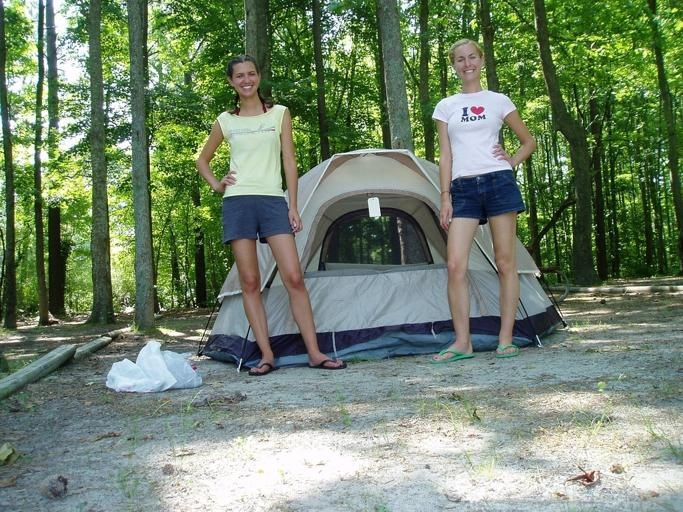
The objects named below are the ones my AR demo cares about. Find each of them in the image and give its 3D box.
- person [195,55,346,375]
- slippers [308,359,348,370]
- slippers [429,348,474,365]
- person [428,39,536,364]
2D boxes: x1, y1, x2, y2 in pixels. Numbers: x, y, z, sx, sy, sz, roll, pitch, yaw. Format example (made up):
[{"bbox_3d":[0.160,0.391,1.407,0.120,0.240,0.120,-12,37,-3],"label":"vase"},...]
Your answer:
[{"bbox_3d":[-0.704,-0.359,5.179,0.976,2.818,0.469,-5,4,-13],"label":"person"},{"bbox_3d":[-0.132,0.988,5.217,0.265,0.063,0.122,-5,-4,28],"label":"slippers"},{"bbox_3d":[0.991,0.894,5.149,0.381,0.102,0.142,1,-7,-13],"label":"slippers"},{"bbox_3d":[1.240,-0.283,5.116,0.888,2.376,0.429,-3,4,10],"label":"person"}]
